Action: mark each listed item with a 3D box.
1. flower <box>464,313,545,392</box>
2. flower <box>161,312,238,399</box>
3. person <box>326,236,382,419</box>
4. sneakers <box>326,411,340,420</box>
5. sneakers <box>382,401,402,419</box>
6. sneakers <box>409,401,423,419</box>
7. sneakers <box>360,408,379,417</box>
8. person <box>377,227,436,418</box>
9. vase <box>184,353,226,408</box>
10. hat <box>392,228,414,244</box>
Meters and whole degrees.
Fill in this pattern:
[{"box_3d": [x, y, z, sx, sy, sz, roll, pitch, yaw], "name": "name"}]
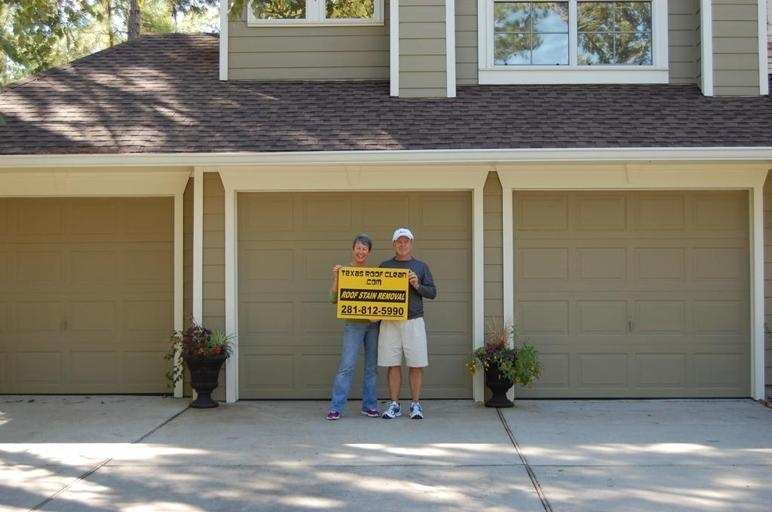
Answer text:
[{"box_3d": [1.834, 1.585, 13.222, 0.874, 0.858, 1.020, -18, -7, 22], "name": "flower"}, {"box_3d": [-2.642, 1.610, 13.265, 0.930, 1.141, 0.951, 0, -7, -9], "name": "flower"}, {"box_3d": [-0.466, 0.972, 12.741, 0.755, 2.567, 1.092, -1, 10, -3], "name": "person"}, {"box_3d": [-0.717, 2.204, 12.478, 0.201, 0.122, 0.234, -1, 10, -2], "name": "sneakers"}, {"box_3d": [0.125, 2.182, 12.636, 0.148, 0.157, 0.348, -2, -9, 21], "name": "sneakers"}, {"box_3d": [0.451, 2.130, 12.610, 0.204, 0.252, 0.474, 0, 10, 1], "name": "sneakers"}, {"box_3d": [-0.198, 2.210, 12.622, 0.222, 0.092, 0.095, -5, -9, 39], "name": "sneakers"}, {"box_3d": [0.307, 0.954, 12.507, 0.800, 2.647, 0.647, 0, 10, 2], "name": "person"}, {"box_3d": [-2.647, 1.839, 13.172, 0.631, 0.692, 0.654, -6, -10, 39], "name": "vase"}, {"box_3d": [0.246, -0.309, 12.540, 0.184, 0.132, 0.253, 1, -16, -2], "name": "hat"}]
